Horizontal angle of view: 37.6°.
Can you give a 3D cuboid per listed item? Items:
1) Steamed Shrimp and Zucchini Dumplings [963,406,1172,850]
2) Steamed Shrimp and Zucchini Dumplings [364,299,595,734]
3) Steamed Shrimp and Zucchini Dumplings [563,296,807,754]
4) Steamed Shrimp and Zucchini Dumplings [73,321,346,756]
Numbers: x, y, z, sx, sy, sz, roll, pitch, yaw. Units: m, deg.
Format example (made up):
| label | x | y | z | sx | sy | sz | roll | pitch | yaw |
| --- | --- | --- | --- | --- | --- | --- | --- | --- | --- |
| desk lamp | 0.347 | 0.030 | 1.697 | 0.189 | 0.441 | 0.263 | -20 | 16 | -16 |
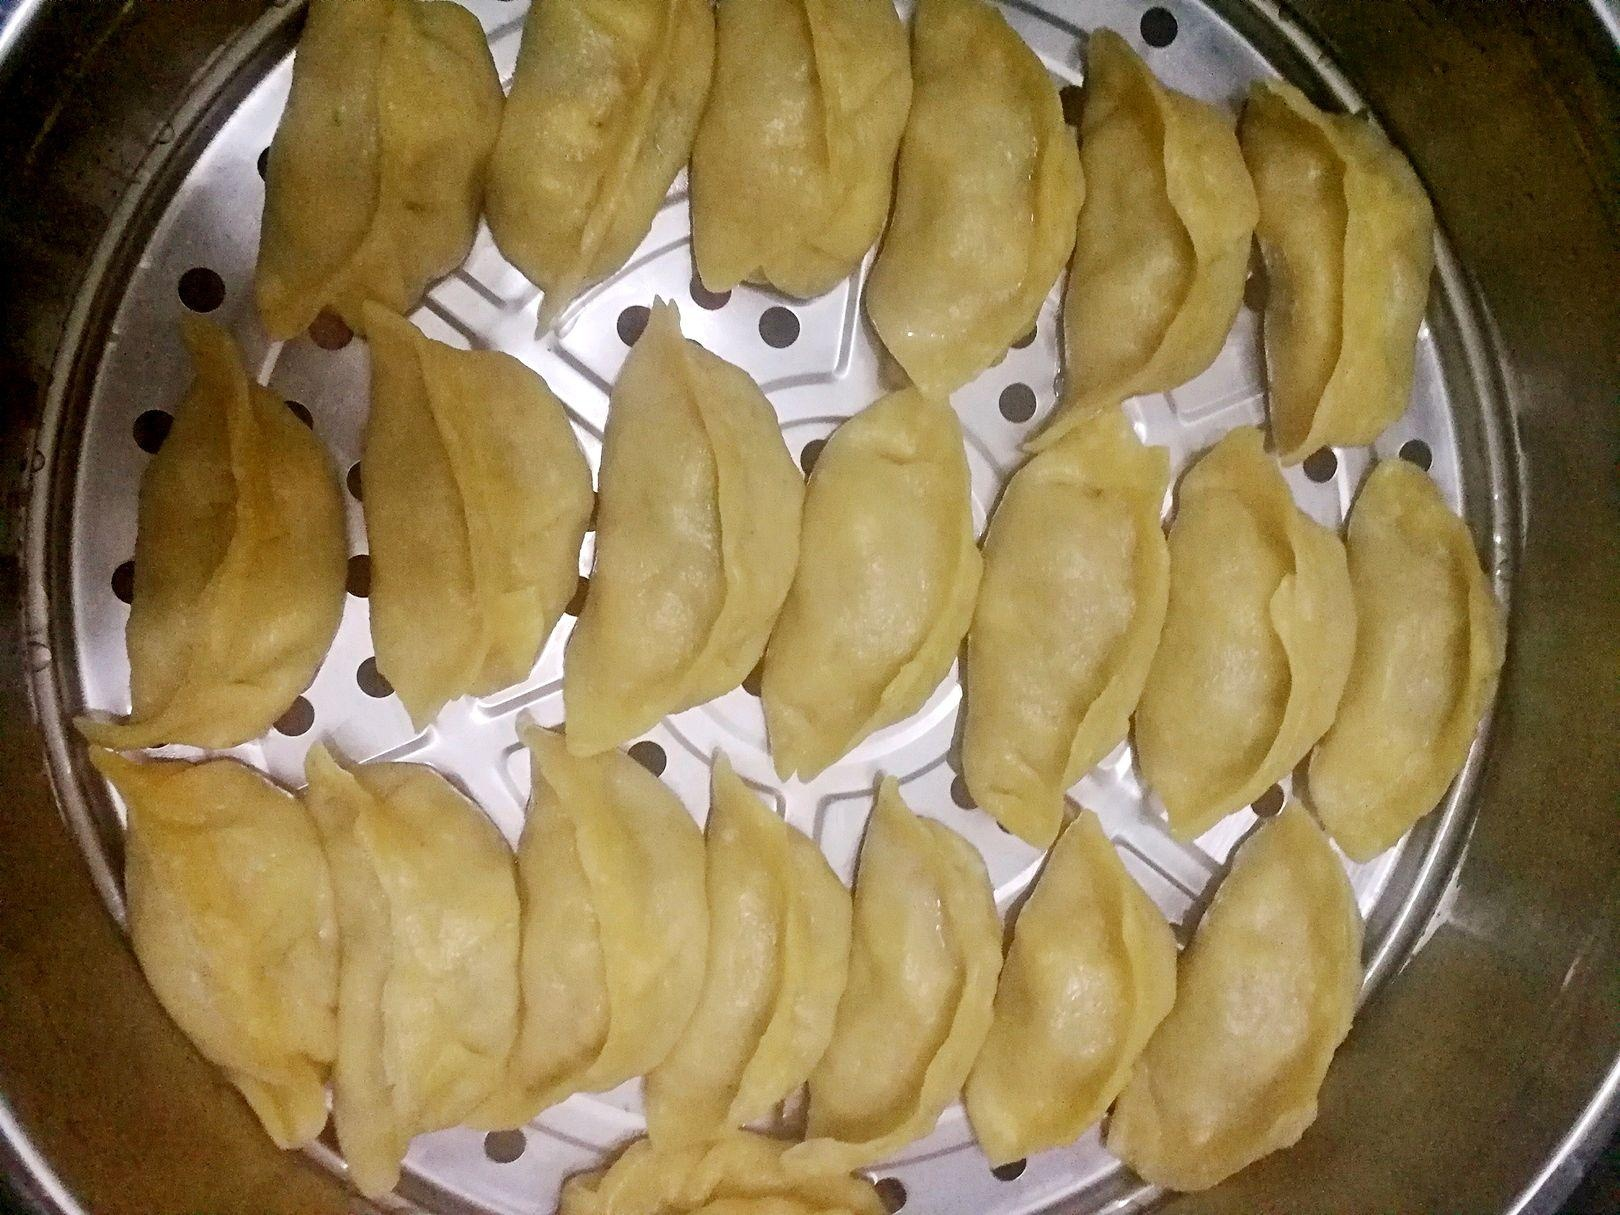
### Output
| label | x | y | z | sx | sy | sz | roll | pitch | yaw |
| --- | --- | --- | --- | --- | --- | --- | --- | --- | --- |
| Steamed Shrimp and Zucchini Dumplings | 0.212 | 0.008 | 2.009 | 0.162 | 0.079 | 0.349 | 20 | 80 | 3 |
| Steamed Shrimp and Zucchini Dumplings | -0.277 | -0.066 | 1.952 | 0.186 | 0.101 | 0.324 | 4 | 79 | 0 |
| Steamed Shrimp and Zucchini Dumplings | -0.101 | -0.052 | 1.972 | 0.150 | 0.406 | 0.183 | -2 | 27 | -1 |
| Steamed Shrimp and Zucchini Dumplings | -0.478 | -0.031 | 1.955 | 0.183 | 0.097 | 0.347 | 16 | 79 | 2 |
